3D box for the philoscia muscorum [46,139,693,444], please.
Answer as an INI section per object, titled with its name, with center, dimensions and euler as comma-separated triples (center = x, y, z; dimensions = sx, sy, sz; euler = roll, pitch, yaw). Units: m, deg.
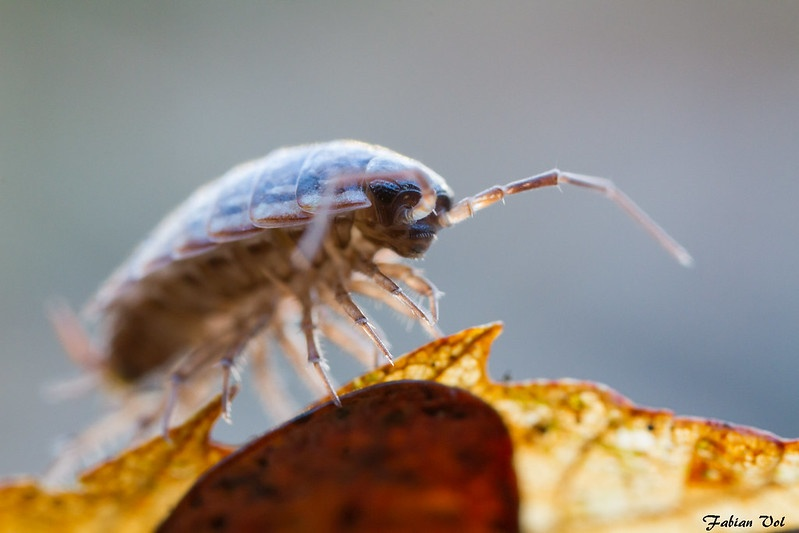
[philoscia muscorum]
center = -0.303, -0.105, 2.824
dimensions = 1.586, 0.467, 0.944
euler = -2, 8, 17
